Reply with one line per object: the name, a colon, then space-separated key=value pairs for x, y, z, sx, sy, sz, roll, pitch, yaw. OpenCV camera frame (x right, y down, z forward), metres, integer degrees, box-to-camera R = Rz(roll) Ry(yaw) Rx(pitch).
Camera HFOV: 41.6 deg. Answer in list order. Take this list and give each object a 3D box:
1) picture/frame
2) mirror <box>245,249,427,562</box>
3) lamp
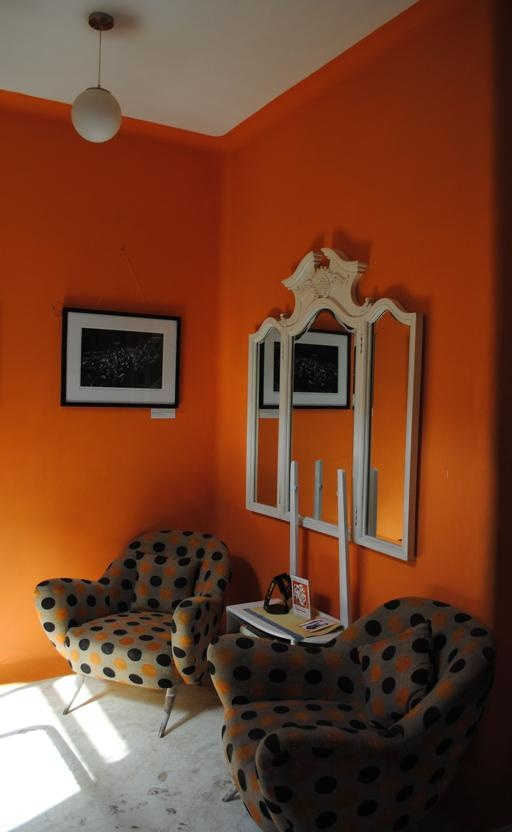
picture/frame: x=-0.725 y=-0.315 z=3.487 sx=0.553 sy=0.468 sz=0.037 roll=1 pitch=0 yaw=-31
mirror: x=0.343 y=-0.043 z=2.754 sx=0.100 sy=1.411 sz=1.436 roll=0 pitch=4 yaw=-25
lamp: x=-0.605 y=-1.293 z=2.588 sx=0.182 sy=0.482 sz=0.185 roll=3 pitch=3 yaw=-4
